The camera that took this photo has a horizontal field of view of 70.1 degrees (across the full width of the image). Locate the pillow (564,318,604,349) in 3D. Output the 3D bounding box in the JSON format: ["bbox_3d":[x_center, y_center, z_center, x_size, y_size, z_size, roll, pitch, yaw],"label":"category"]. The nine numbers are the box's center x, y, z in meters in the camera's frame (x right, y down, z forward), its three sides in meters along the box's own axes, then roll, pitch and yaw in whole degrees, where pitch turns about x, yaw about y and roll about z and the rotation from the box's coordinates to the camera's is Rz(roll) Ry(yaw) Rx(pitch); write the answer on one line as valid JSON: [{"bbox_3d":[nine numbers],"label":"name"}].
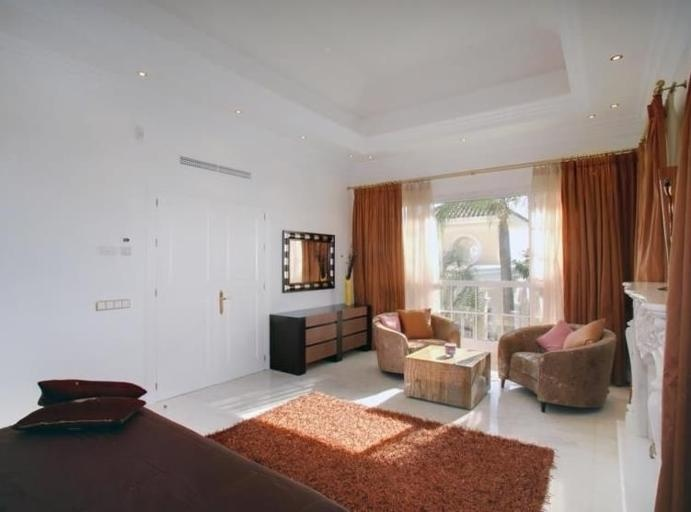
[{"bbox_3d":[2.579,0.867,5.320,0.304,0.172,0.362,-21,-11,9],"label":"pillow"}]

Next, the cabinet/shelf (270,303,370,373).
[{"bbox_3d":[-0.299,1.169,7.254,0.516,0.787,1.881,1,1,34],"label":"cabinet/shelf"}]

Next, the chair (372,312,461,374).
[{"bbox_3d":[0.941,1.190,6.651,1.083,0.739,0.928,0,-2,-18],"label":"chair"}]

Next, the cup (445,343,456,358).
[{"bbox_3d":[1.198,1.114,5.678,0.125,0.157,0.134,0,-1,0],"label":"cup"}]

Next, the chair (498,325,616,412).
[{"bbox_3d":[2.387,1.194,5.577,0.919,0.839,1.190,3,0,-13],"label":"chair"}]

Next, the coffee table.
[{"bbox_3d":[1.146,1.344,5.497,0.610,0.420,0.657,2,3,28],"label":"coffee table"}]

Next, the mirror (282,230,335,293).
[{"bbox_3d":[-0.529,0.111,7.330,1.006,0.898,0.043,1,2,35],"label":"mirror"}]
